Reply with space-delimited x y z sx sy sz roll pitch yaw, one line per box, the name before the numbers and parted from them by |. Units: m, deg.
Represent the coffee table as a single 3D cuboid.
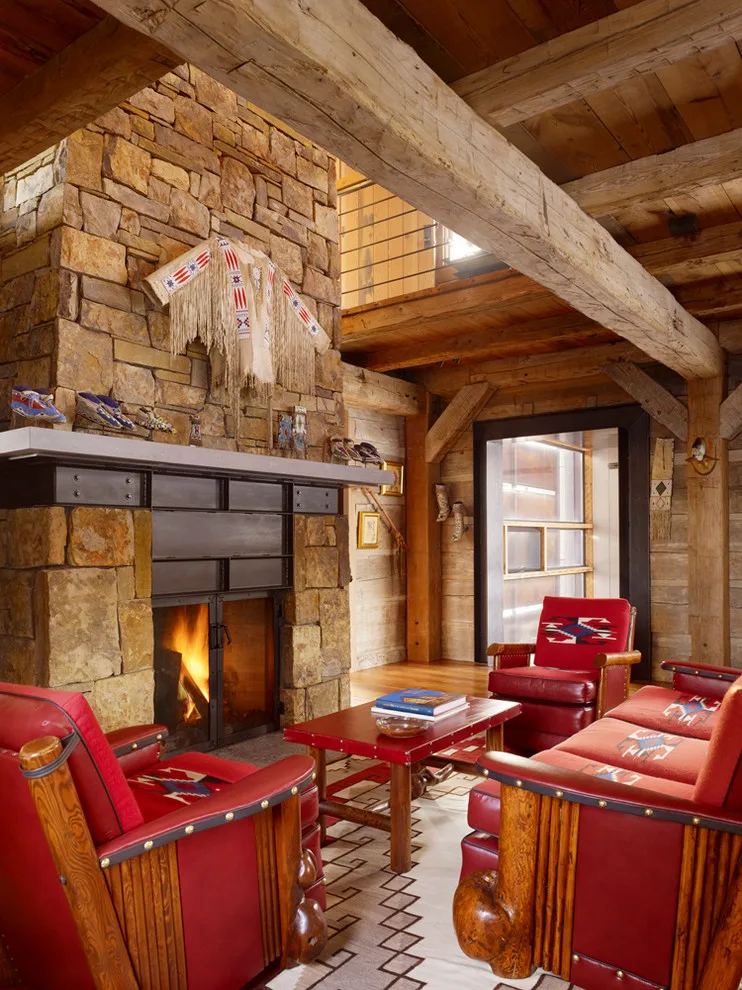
coffee table | 0.044 0.924 2.807 0.524 0.430 0.925 0 2 31
